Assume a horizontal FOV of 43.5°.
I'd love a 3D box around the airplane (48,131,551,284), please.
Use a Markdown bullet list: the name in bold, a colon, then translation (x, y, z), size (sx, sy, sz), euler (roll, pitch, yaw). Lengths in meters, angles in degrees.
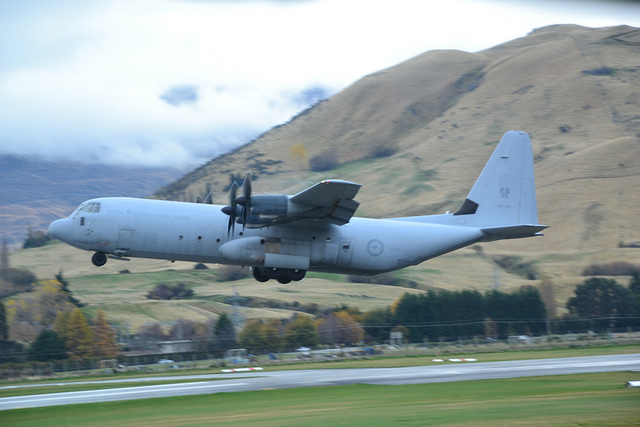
- **airplane**: translation (-2.205, 2.121, 82.743), size (41.460, 6.165, 25.195), euler (2, -5, -11)
